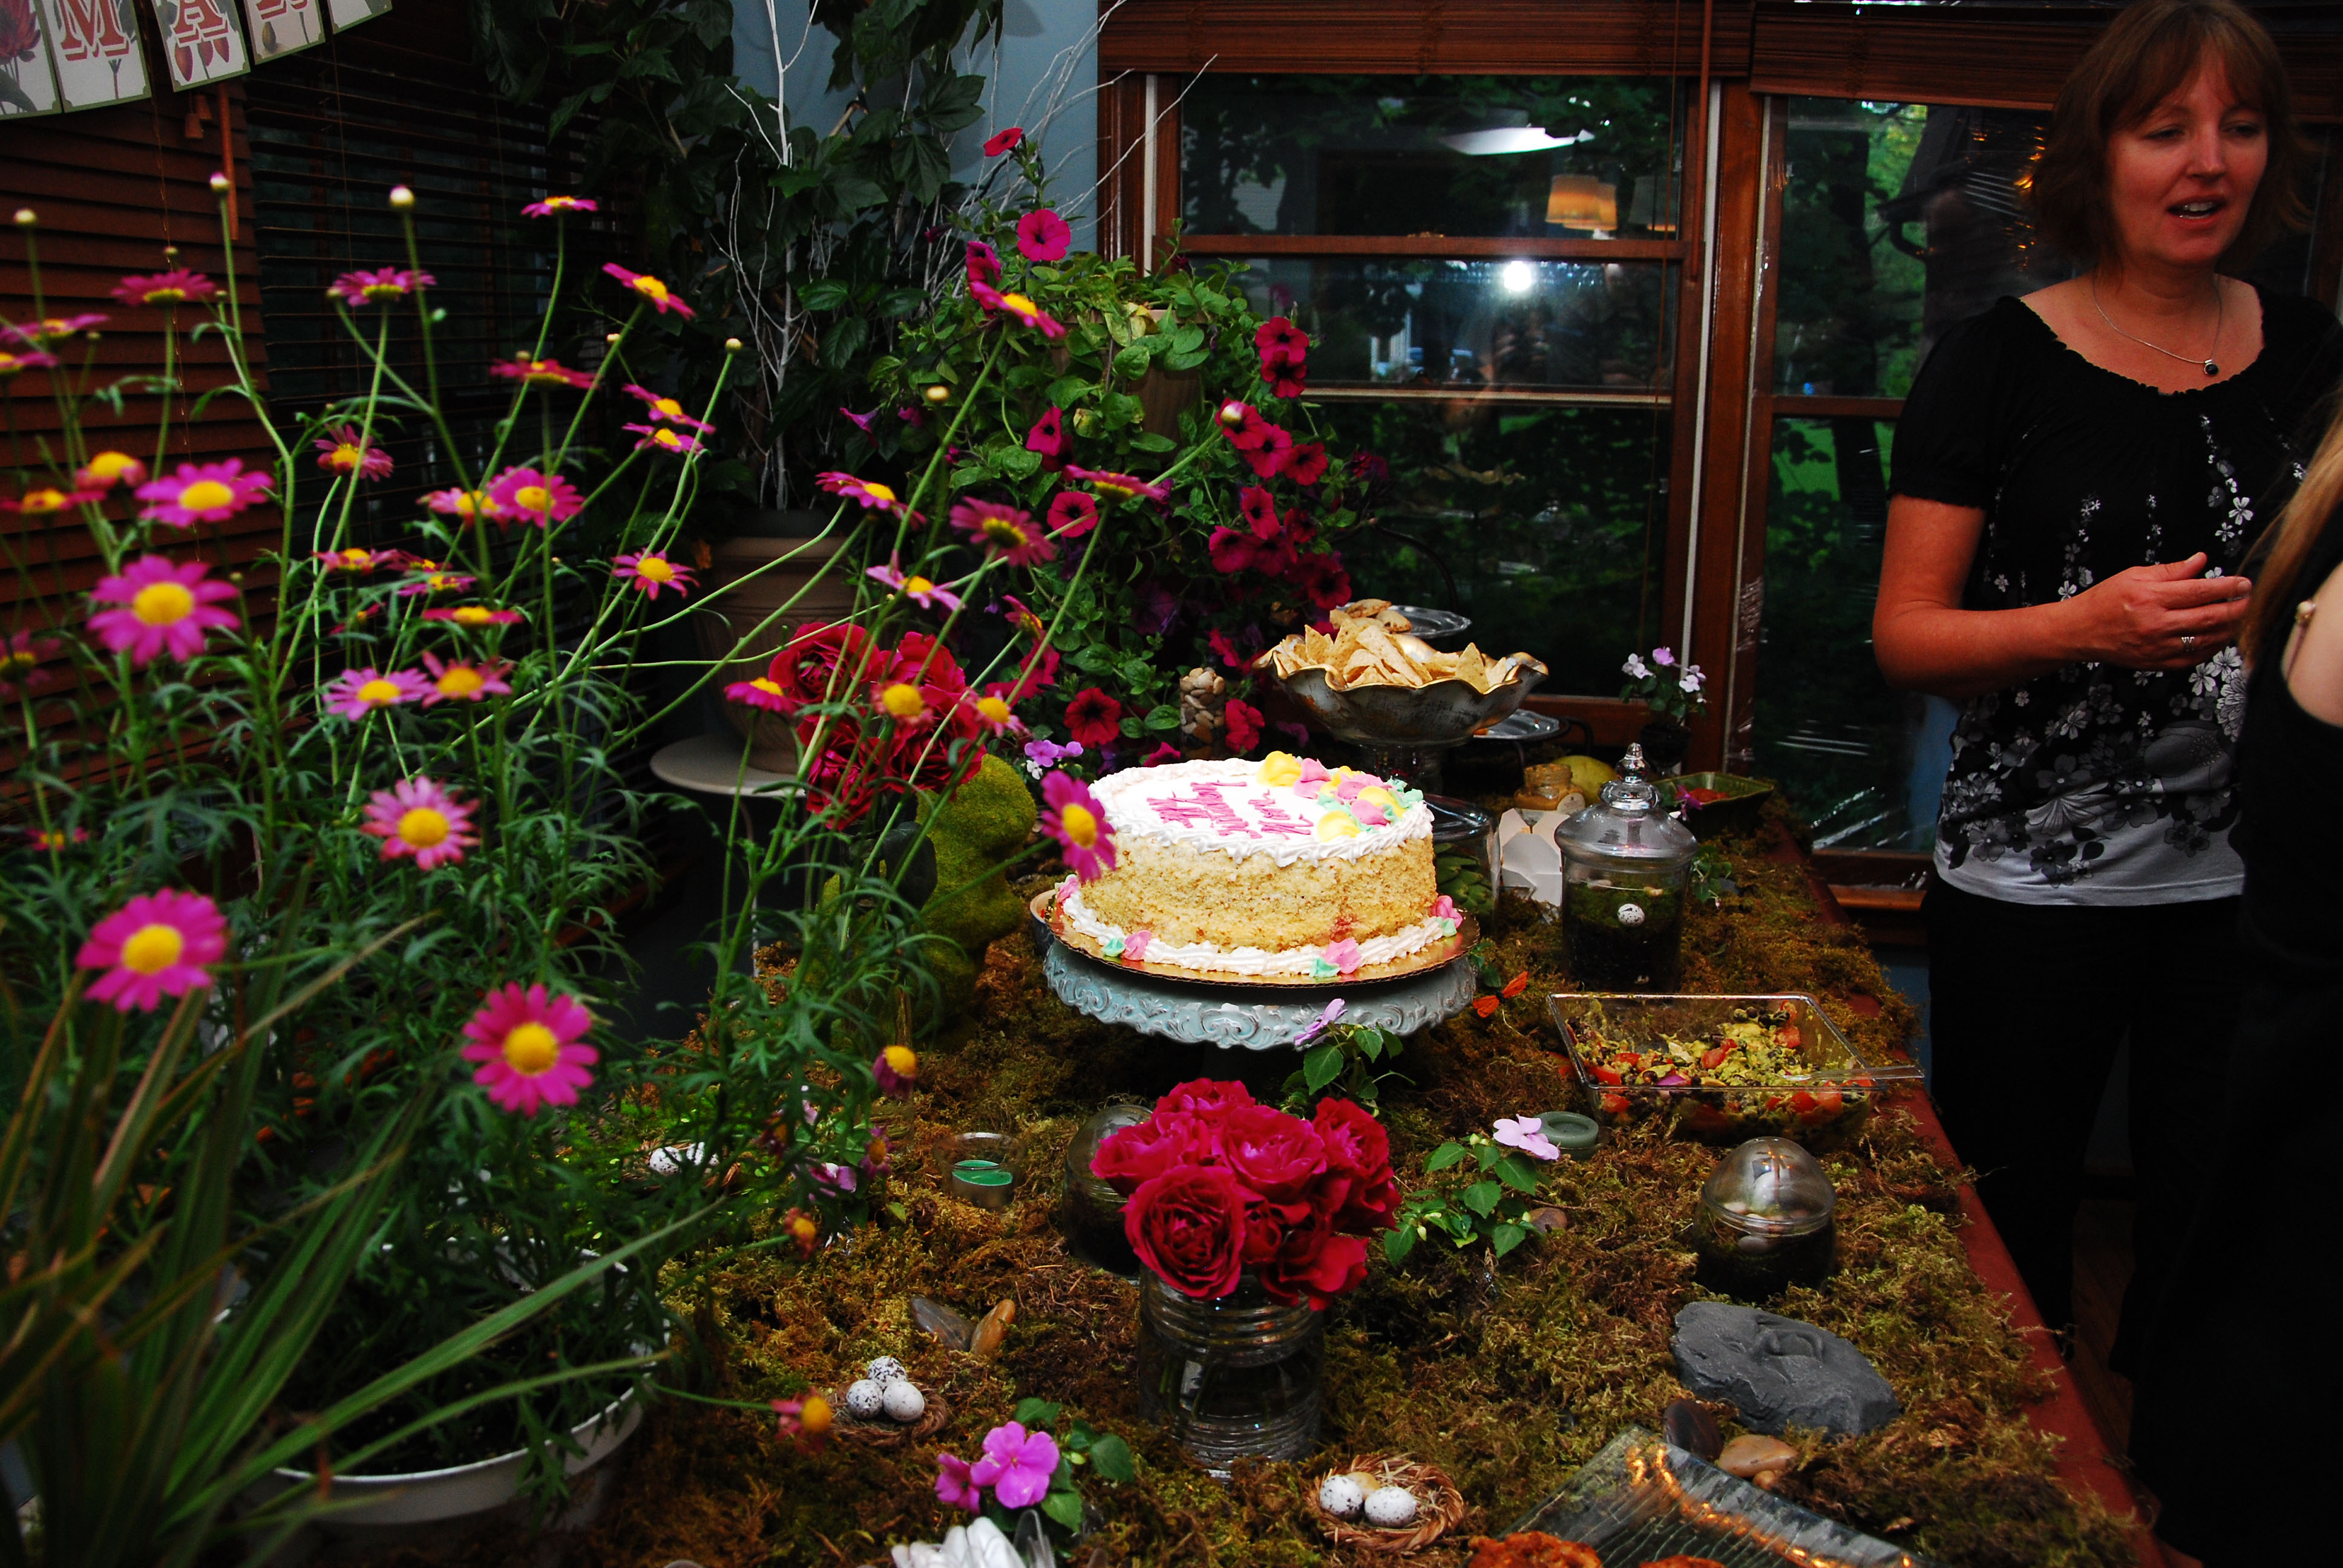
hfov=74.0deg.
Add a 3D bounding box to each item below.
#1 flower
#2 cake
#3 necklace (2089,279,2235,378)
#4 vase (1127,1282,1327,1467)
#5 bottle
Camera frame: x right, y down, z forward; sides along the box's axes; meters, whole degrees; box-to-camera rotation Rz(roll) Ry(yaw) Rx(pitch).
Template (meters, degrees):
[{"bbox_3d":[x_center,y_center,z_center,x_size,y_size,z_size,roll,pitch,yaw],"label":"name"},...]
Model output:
[{"bbox_3d":[0.061,0.359,1.406,0.244,0.133,0.243,2,39,-11],"label":"flower"},{"bbox_3d":[0.111,0.096,2.107,0.592,0.194,0.473,1,17,-1],"label":"cake"},{"bbox_3d":[1.435,-0.633,2.168,0.166,0.151,0.062,-4,-13,6],"label":"necklace"},{"bbox_3d":[0.077,0.562,1.488,0.152,0.194,0.135,-5,-12,-9],"label":"vase"},{"bbox_3d":[0.706,0.133,2.392,0.229,0.339,0.210,4,7,0],"label":"bottle"}]
